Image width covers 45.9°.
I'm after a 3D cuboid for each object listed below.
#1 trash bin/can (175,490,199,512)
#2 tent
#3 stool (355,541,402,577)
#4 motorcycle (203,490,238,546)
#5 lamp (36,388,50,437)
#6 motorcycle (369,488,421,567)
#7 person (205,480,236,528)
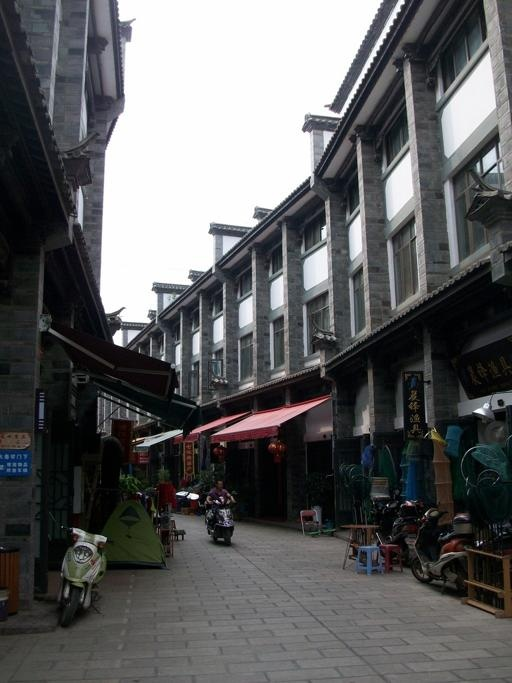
[{"bbox_3d":[-2.841,6.636,24.929,1.282,0.677,1.740,2,-5,-1],"label":"trash bin/can"},{"bbox_3d":[-2.107,3.298,10.452,1.283,1.054,1.068,1,-5,-5],"label":"tent"},{"bbox_3d":[1.969,3.483,9.717,0.643,0.418,1.266,-16,-20,39],"label":"stool"},{"bbox_3d":[-0.983,4.402,15.180,0.754,1.039,1.467,10,-20,-14],"label":"motorcycle"},{"bbox_3d":[-2.504,0.817,7.069,0.093,0.486,0.326,0,-15,-8],"label":"lamp"},{"bbox_3d":[2.359,3.121,10.294,0.613,1.057,1.464,5,-9,2],"label":"motorcycle"},{"bbox_3d":[-0.941,4.140,15.485,0.664,0.774,1.121,6,-26,-19],"label":"person"}]
